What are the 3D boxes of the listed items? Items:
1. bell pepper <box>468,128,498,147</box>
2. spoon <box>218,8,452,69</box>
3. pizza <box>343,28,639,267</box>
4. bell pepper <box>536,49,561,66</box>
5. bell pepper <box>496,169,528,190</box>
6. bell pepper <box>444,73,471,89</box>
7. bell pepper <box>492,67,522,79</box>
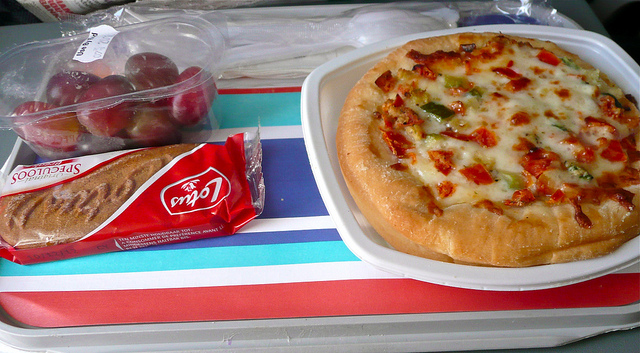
[{"bbox_3d":[0.568,-0.135,1.722,0.071,0.019,0.067,-32,71,-8],"label":"bell pepper"},{"bbox_3d":[0.064,-0.561,2.053,0.977,0.103,0.221,-8,48,-2],"label":"spoon"},{"bbox_3d":[0.614,-0.143,1.781,1.060,0.259,0.930,0,56,3],"label":"pizza"},{"bbox_3d":[0.853,-0.442,1.859,0.087,0.022,0.046,32,89,6],"label":"bell pepper"},{"bbox_3d":[0.652,0.009,1.685,0.087,0.020,0.048,31,81,15],"label":"bell pepper"},{"bbox_3d":[0.500,-0.347,1.813,0.082,0.022,0.049,0,60,-15],"label":"bell pepper"},{"bbox_3d":[0.688,-0.381,1.824,0.087,0.018,0.043,19,34,1],"label":"bell pepper"}]
